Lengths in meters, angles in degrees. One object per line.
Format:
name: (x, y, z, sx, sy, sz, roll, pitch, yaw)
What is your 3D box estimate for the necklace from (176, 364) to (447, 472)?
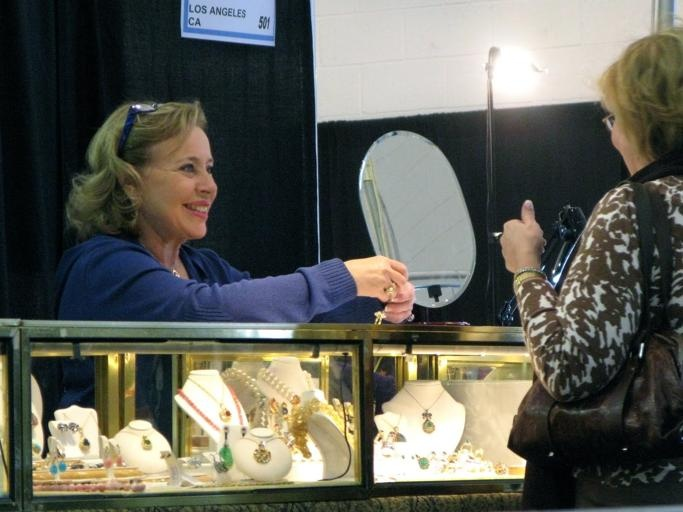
necklace: (-0.106, 0.488, 3.452, 0.640, 0.366, 0.218, 0, -10, -11)

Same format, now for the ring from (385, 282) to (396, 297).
ring: (0.155, 0.110, 3.842, 0.034, 0.045, 0.019, -4, 3, -8)

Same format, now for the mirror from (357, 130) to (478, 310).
mirror: (0.254, -0.129, 4.511, 0.397, 0.664, 0.108, -22, 4, -26)

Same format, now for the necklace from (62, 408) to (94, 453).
necklace: (-0.777, 0.519, 3.606, 0.109, 0.163, 0.022, 6, -29, -34)

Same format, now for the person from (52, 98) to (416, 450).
person: (-0.283, 0.006, 4.236, 1.152, 1.364, 0.854, -2, -2, 12)

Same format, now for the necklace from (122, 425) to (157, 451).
necklace: (-0.594, 0.546, 3.600, 0.075, 0.080, 0.071, 7, -28, -21)

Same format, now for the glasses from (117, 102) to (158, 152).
glasses: (-0.689, -0.418, 4.096, 0.037, 0.151, 0.146, 9, 17, 6)
